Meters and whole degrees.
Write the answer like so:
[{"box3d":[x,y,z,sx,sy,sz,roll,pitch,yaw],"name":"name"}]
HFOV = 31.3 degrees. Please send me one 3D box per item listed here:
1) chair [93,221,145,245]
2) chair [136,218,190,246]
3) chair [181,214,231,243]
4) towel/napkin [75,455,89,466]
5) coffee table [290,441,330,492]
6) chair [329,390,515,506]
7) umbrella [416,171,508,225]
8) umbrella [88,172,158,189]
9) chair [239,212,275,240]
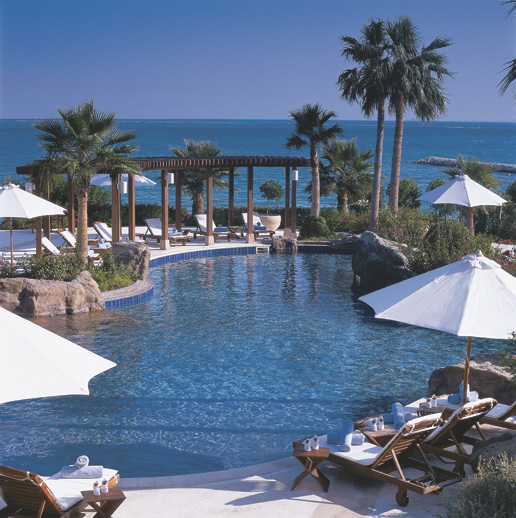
[{"box3d":[-4.425,-0.833,28.278,1.505,0.717,1.064,0,9,11],"name":"chair"},{"box3d":[-3.071,-0.885,30.245,0.680,0.669,1.752,-6,8,-36],"name":"chair"},{"box3d":[-1.865,-1.051,32.112,0.878,0.777,1.735,-5,9,-28],"name":"chair"},{"box3d":[-1.990,2.299,10.535,0.127,0.117,0.228,-1,5,-14],"name":"towel/napkin"},{"box3d":[0.618,2.439,10.875,0.456,0.486,0.497,-1,1,7],"name":"coffee table"},{"box3d":[1.868,2.324,11.120,1.397,0.674,1.507,-5,8,-37],"name":"chair"},{"box3d":[4.806,-1.507,21.903,1.574,1.061,1.651,10,19,25],"name":"umbrella"},{"box3d":[-4.736,-2.581,30.221,1.227,0.449,1.256,-1,6,-5],"name":"umbrella"},{"box3d":[0.026,-1.166,32.504,0.748,0.761,1.140,-2,8,-20],"name":"chair"}]
